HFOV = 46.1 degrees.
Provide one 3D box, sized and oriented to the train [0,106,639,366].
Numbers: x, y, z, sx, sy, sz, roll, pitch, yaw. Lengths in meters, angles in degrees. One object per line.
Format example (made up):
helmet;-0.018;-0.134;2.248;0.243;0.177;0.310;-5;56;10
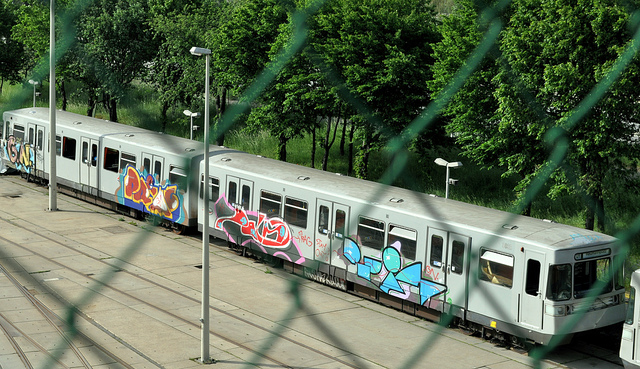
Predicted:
train;-0.264;1.207;43.303;39.111;5.514;17.207;13;7;36
